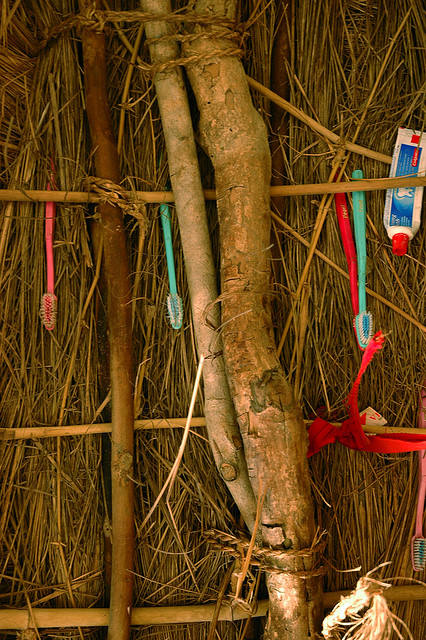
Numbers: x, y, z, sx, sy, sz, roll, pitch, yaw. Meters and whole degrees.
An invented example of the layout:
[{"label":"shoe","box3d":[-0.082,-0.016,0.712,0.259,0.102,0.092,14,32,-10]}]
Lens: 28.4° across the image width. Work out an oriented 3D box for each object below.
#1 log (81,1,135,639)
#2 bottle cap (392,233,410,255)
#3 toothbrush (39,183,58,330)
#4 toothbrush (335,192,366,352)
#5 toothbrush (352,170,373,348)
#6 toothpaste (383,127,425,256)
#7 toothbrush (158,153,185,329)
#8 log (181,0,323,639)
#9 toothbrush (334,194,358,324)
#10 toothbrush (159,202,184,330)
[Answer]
[{"label":"log","box3d":[-0.289,0.053,2.283,0.043,1.763,0.080,-4,-3,22]},{"label":"bottle cap","box3d":[0.517,-0.210,2.340,0.047,0.053,0.059,6,50,18]},{"label":"toothbrush","box3d":[-0.452,-0.151,2.327,0.045,0.347,0.061,-1,3,-3]},{"label":"toothbrush","box3d":[0.397,-0.093,2.410,0.049,0.537,0.049,-5,0,-38]},{"label":"toothbrush","box3d":[0.417,-0.155,2.366,0.050,0.550,0.041,-3,2,-23]},{"label":"toothpaste","box3d":[0.546,-0.371,2.414,0.098,0.390,0.068,6,-2,1]},{"label":"toothbrush","box3d":[-0.095,-0.157,2.330,0.056,0.353,0.056,-8,6,9]},{"label":"log","box3d":[0.097,-0.038,2.128,0.230,1.612,0.438,-2,3,-19]},{"label":"toothbrush","box3d":[0.372,-0.204,2.407,0.040,0.454,0.043,-1,-6,-32]},{"label":"toothbrush","box3d":[-0.113,-0.149,2.338,0.051,0.352,0.086,-3,4,-32]}]
